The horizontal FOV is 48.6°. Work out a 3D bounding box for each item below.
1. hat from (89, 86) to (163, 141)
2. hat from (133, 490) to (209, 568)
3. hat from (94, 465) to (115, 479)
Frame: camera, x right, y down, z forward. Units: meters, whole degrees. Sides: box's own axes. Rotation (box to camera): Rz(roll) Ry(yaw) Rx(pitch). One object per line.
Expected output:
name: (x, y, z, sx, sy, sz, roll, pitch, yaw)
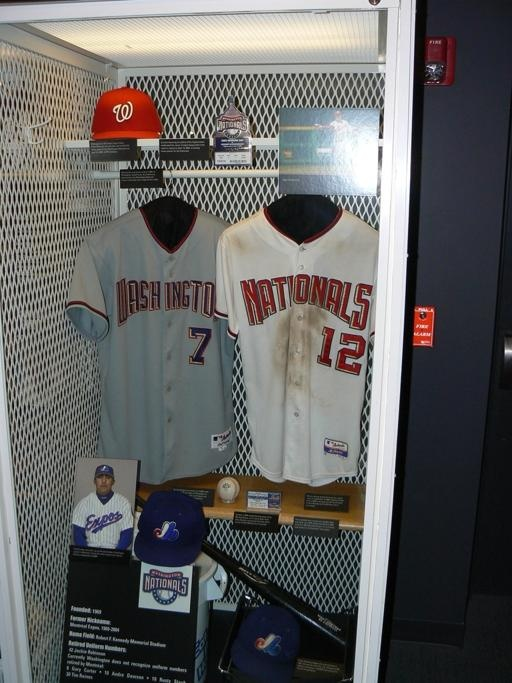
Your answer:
hat: (-0.329, -0.578, 1.453, 0.177, 0.139, 0.092, 1, 10, -13)
hat: (-0.237, 0.519, 1.568, 0.187, 0.179, 0.112, 3, 10, 1)
hat: (-0.411, 0.356, 1.546, 0.041, 0.037, 0.073, 2, -9, -9)
